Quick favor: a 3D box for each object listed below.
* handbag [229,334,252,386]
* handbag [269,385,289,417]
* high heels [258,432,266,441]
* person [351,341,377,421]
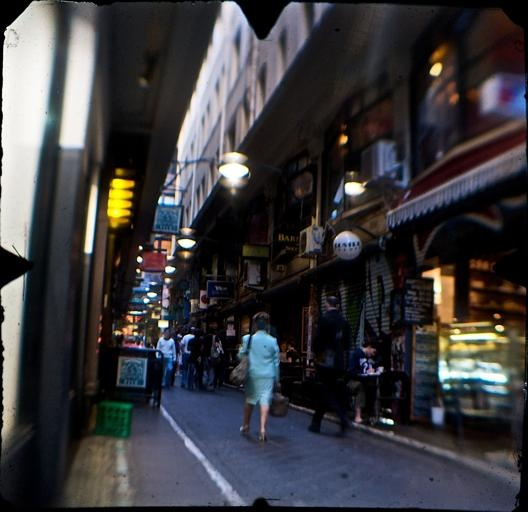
[{"bbox_3d":[-0.250,1.310,6.917,0.177,0.715,0.152,26,13,33],"label":"handbag"},{"bbox_3d":[0.177,1.846,6.841,0.251,0.268,0.156,-4,-8,38],"label":"handbag"},{"bbox_3d":[-0.025,2.242,6.834,0.091,0.130,0.104,1,-11,-3],"label":"high heels"},{"bbox_3d":[1.568,1.989,8.825,0.441,1.257,0.866,1,-7,11],"label":"person"}]
